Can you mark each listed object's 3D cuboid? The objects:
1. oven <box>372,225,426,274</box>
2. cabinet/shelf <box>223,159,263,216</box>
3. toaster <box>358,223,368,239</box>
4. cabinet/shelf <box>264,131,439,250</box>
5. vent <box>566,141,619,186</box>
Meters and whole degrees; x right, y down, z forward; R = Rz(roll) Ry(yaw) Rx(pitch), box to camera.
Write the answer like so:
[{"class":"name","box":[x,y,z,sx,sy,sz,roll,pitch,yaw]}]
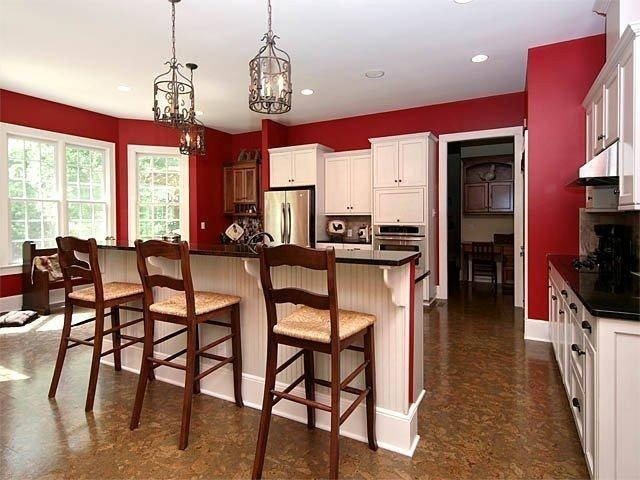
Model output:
[{"class":"oven","box":[1.100,0.103,6.686,0.767,0.645,0.341,-1,5,12]},{"class":"cabinet/shelf","box":[-1.321,-0.926,8.315,0.947,0.942,0.294,0,-1,29]},{"class":"toaster","box":[0.647,-0.133,7.248,0.175,0.252,0.195,3,3,25]},{"class":"cabinet/shelf","box":[0.516,-0.696,7.168,2.292,1.550,0.394,1,5,27]},{"class":"vent","box":[2.319,-0.645,4.051,0.313,0.360,0.374,0,5,21]}]
